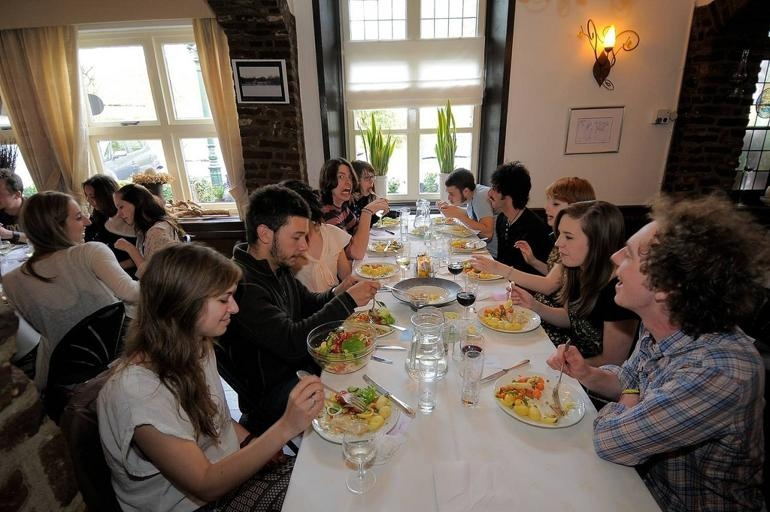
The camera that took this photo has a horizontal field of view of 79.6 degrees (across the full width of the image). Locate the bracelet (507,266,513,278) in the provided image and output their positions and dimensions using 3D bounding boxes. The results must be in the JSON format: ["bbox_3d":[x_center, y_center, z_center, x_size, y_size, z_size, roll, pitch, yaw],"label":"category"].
[{"bbox_3d":[0.833,0.112,3.067,0.015,0.059,0.044,6,1,-13],"label":"bracelet"}]

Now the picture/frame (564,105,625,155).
[{"bbox_3d":[2.358,-1.444,5.176,0.552,0.402,0.019,-1,19,-4],"label":"picture/frame"}]

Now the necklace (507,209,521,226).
[{"bbox_3d":[1.080,-0.318,3.814,0.040,0.116,0.087,31,-24,-23],"label":"necklace"}]

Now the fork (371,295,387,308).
[{"bbox_3d":[-0.036,0.283,2.802,0.078,0.022,0.054,33,27,27],"label":"fork"}]

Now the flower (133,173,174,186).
[{"bbox_3d":[-2.463,-0.820,4.880,0.323,0.107,0.315,-1,7,-7],"label":"flower"}]

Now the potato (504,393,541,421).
[{"bbox_3d":[0.635,0.687,2.100,0.085,0.035,0.107,10,8,-23],"label":"potato"}]

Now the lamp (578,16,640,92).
[{"bbox_3d":[2.431,-2.177,4.990,0.675,0.712,0.167,-9,23,-13],"label":"lamp"}]

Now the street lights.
[{"bbox_3d":[-2.045,-1.496,5.308,0.191,1.739,0.307,-14,25,-24],"label":"street lights"}]

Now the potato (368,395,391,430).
[{"bbox_3d":[-0.016,0.705,2.075,0.074,0.038,0.122,3,43,11],"label":"potato"}]

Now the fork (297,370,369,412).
[{"bbox_3d":[-0.237,0.631,2.130,0.075,0.052,0.452,-32,29,-31],"label":"fork"}]

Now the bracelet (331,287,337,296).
[{"bbox_3d":[-0.311,0.223,2.871,0.048,0.045,0.048,-4,10,-19],"label":"bracelet"}]

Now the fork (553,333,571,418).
[{"bbox_3d":[0.873,0.542,2.218,0.057,0.450,0.063,-13,-41,40],"label":"fork"}]

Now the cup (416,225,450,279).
[{"bbox_3d":[0.380,-0.017,3.507,0.177,0.213,0.590,1,8,7],"label":"cup"}]

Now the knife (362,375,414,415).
[{"bbox_3d":[-0.018,0.628,2.242,0.083,0.057,0.504,1,11,-29],"label":"knife"}]

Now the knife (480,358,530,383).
[{"bbox_3d":[0.599,0.575,2.290,0.402,0.019,0.056,-13,19,-33],"label":"knife"}]

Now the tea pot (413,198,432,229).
[{"bbox_3d":[0.367,-0.393,4.393,0.212,0.312,0.283,0,9,1],"label":"tea pot"}]

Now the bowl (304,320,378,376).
[{"bbox_3d":[-0.206,0.483,2.387,0.341,0.162,0.345,-1,20,1],"label":"bowl"}]

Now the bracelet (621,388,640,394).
[{"bbox_3d":[1.186,0.647,2.206,0.045,0.011,0.045,-1,-4,30],"label":"bracelet"}]

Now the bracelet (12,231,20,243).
[{"bbox_3d":[-3.559,-0.180,4.439,0.100,0.093,0.092,-1,0,-39],"label":"bracelet"}]
